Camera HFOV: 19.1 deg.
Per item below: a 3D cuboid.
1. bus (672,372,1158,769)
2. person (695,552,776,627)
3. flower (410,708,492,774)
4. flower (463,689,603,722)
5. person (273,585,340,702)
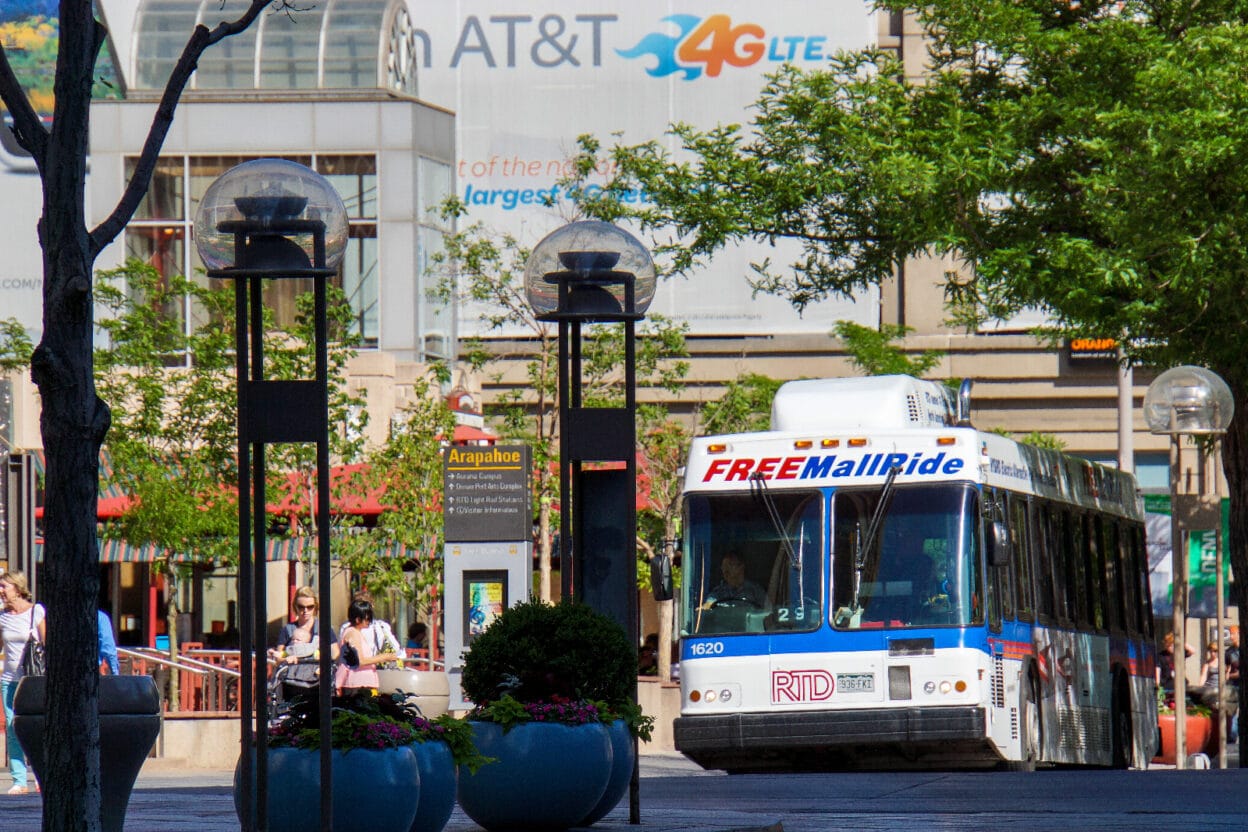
[{"bbox_3d":[4.575,2.647,52.430,7.359,4.939,3.388,5,-9,-39],"label":"bus"},{"bbox_3d":[1.561,2.600,51.564,0.991,1.233,0.810,4,-15,-17],"label":"person"},{"bbox_3d":[-2.100,3.962,44.922,0.722,0.351,0.720,18,3,-5],"label":"flower"},{"bbox_3d":[-1.055,3.702,45.622,1.642,0.400,0.267,-1,-7,-4],"label":"flower"},{"bbox_3d":[-4.795,3.224,52.211,0.919,1.773,1.476,0,2,2],"label":"person"}]
